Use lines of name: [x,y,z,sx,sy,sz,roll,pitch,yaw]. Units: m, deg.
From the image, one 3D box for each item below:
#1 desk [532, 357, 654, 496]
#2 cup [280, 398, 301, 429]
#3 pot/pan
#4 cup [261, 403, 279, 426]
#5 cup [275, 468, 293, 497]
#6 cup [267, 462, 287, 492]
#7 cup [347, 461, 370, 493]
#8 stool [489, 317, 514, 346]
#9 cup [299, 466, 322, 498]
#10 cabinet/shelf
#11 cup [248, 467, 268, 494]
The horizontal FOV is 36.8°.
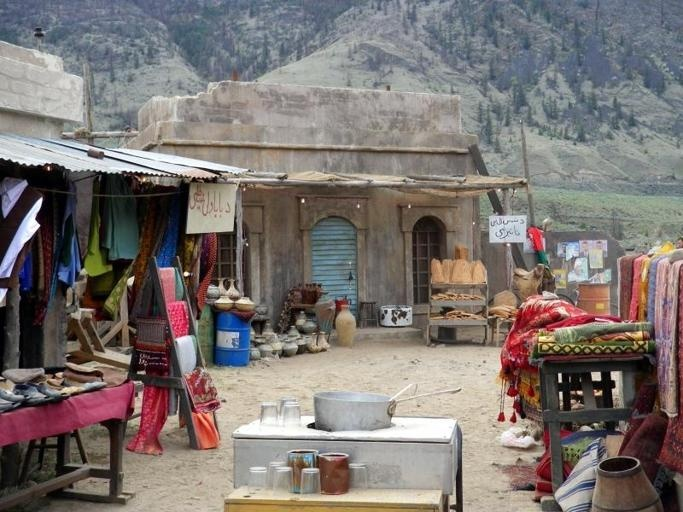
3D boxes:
desk: [2.703,1.651,11.219,1.057,1.581,1.422,-2,0,-2]
cup: [-0.507,1.550,10.180,0.207,0.333,0.212,0,1,0]
pot/pan: [0.225,1.514,10.144,0.989,0.430,0.651,1,-9,6]
cup: [-0.729,1.564,10.290,0.159,0.261,0.181,0,5,-6]
cup: [-0.545,2.127,9.681,0.169,0.242,0.196,0,-2,-4]
cup: [-0.614,2.101,9.803,0.175,0.220,0.201,0,-3,2]
cup: [0.149,2.115,9.792,0.174,0.235,0.201,0,-1,2]
stool: [3.225,1.498,21.247,0.452,0.767,0.695,-1,3,-6]
cup: [-0.299,2.131,9.744,0.179,0.225,0.204,-1,-2,13]
cabinet/shelf: [2.297,1.018,20.569,0.990,1.531,0.941,1,2,16]
cup: [-0.801,2.139,9.829,0.159,0.196,0.179,1,-3,-13]
